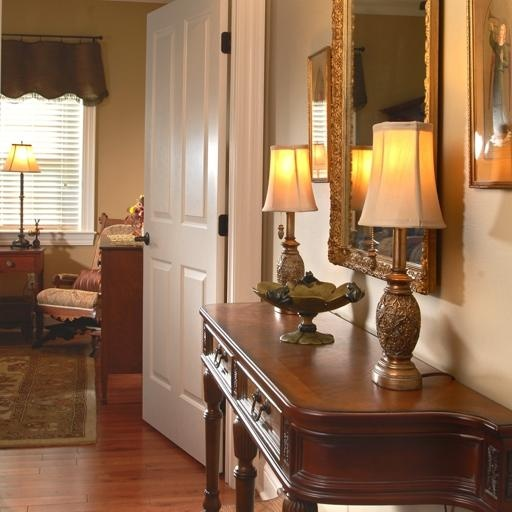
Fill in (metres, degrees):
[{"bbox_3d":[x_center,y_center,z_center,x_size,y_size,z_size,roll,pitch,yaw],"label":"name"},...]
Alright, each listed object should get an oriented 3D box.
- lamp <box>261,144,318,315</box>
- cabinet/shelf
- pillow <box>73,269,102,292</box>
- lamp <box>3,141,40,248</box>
[{"bbox_3d":[0.134,-0.098,1.835,0.191,0.597,0.260,4,4,25],"label":"lamp"},{"bbox_3d":[-0.948,0.460,3.558,0.320,1.094,0.186,1,4,-28],"label":"cabinet/shelf"},{"bbox_3d":[-1.515,0.235,4.502,0.199,0.228,0.214,2,-7,-3],"label":"pillow"},{"bbox_3d":[-2.348,-0.621,4.994,0.324,1.053,0.643,1,4,-24],"label":"lamp"}]
